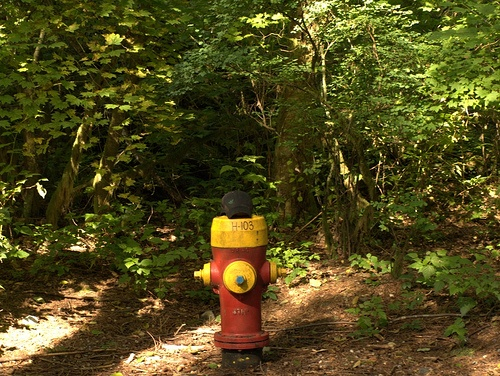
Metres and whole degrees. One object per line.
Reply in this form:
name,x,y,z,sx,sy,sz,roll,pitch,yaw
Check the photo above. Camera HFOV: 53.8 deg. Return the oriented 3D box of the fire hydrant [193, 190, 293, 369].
fire hydrant,-0.107,0.933,5.137,0.657,1.802,0.604,8,11,39
